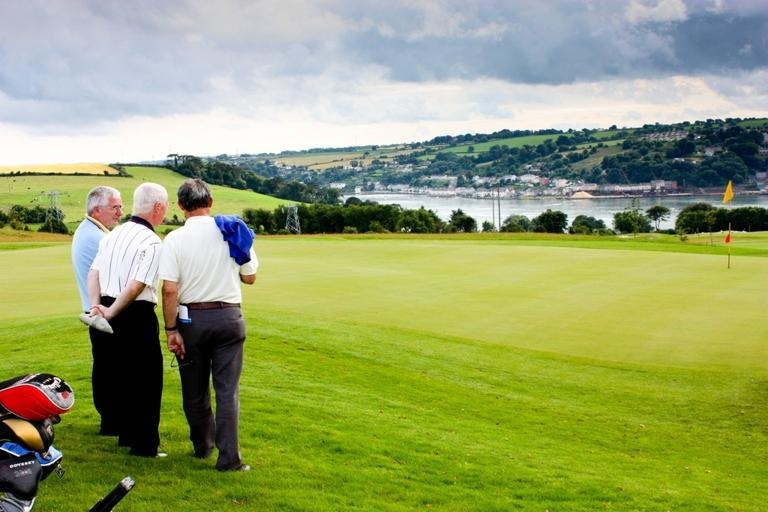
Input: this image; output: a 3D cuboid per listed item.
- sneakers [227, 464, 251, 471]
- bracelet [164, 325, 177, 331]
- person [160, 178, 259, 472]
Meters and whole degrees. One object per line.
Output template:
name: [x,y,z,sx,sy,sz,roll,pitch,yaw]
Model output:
sneakers: [-2.088,3.062,9.371,0.192,0.062,0.133,0,-2,-5]
bracelet: [-3.085,1.035,9.361,0.200,0.078,0.064,10,11,13]
person: [-2.550,0.961,9.488,1.579,4.031,0.867,12,12,18]
